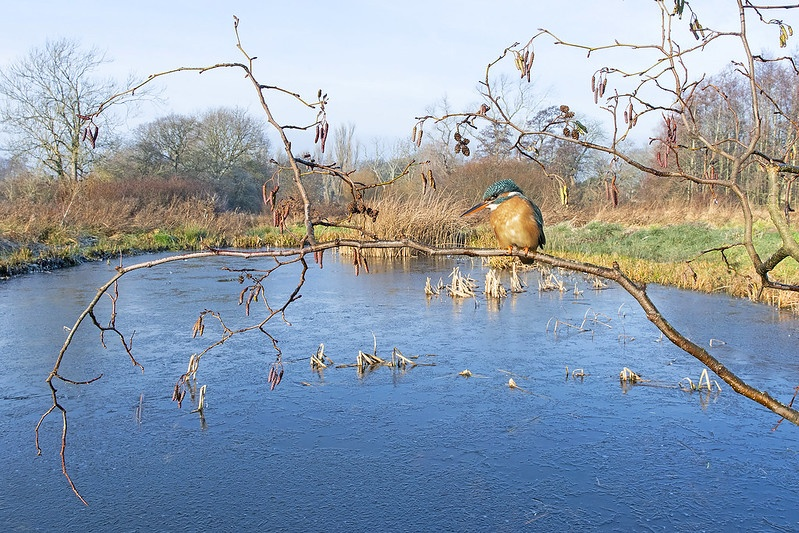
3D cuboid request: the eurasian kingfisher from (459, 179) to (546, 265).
[{"bbox_3d":[1.216,-0.522,8.439,1.064,0.995,0.522,-16,11,-37],"label":"eurasian kingfisher"}]
